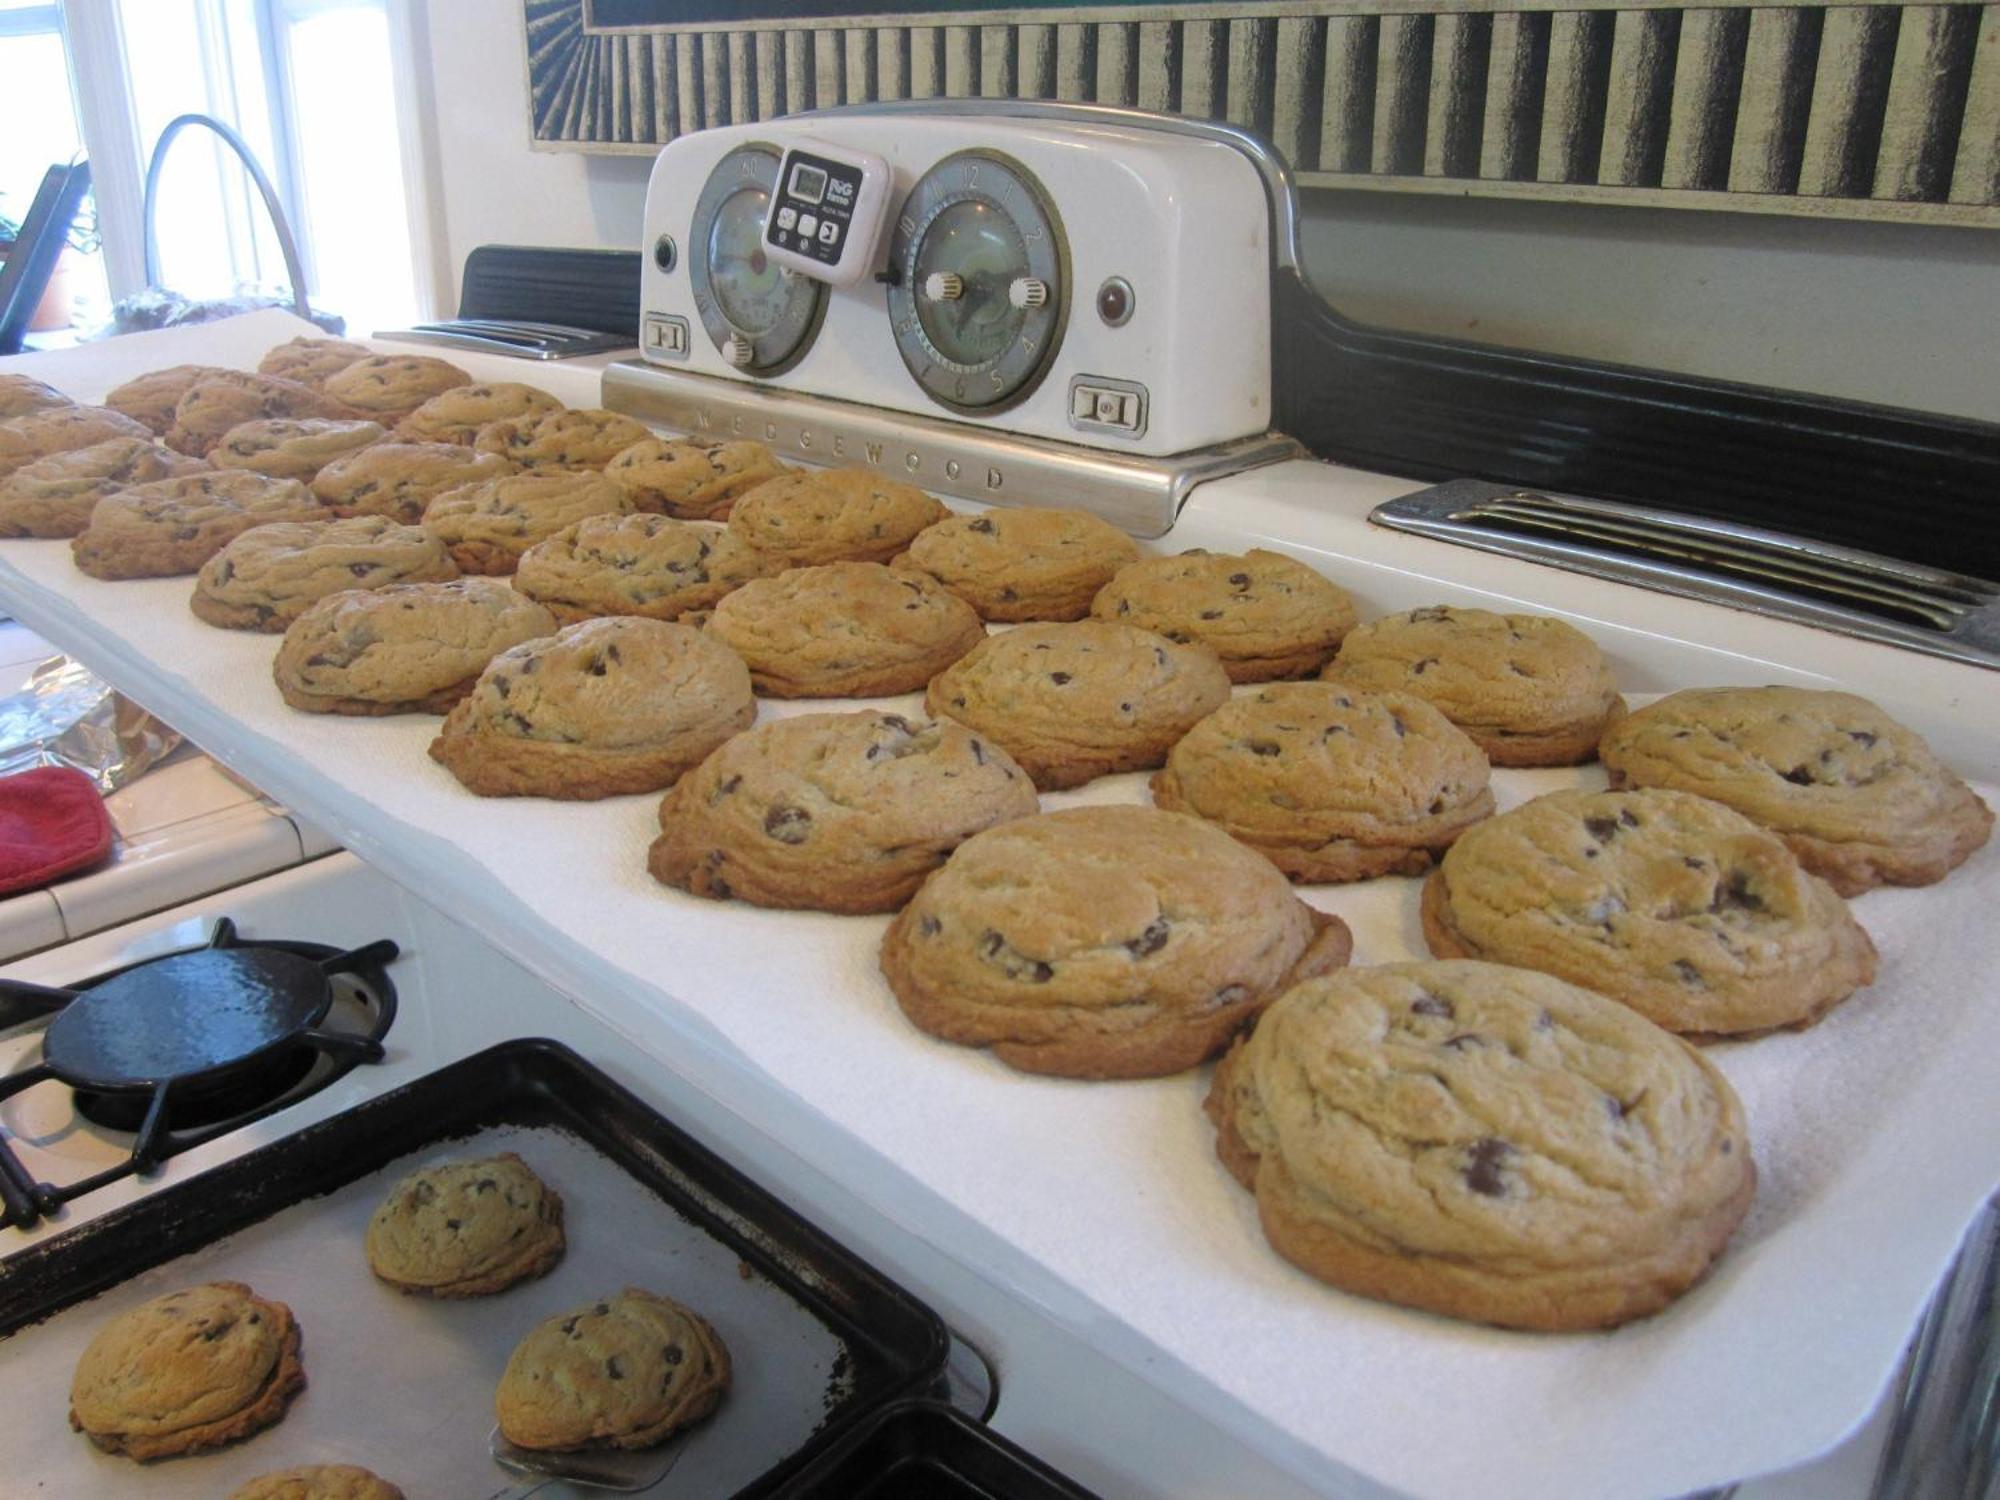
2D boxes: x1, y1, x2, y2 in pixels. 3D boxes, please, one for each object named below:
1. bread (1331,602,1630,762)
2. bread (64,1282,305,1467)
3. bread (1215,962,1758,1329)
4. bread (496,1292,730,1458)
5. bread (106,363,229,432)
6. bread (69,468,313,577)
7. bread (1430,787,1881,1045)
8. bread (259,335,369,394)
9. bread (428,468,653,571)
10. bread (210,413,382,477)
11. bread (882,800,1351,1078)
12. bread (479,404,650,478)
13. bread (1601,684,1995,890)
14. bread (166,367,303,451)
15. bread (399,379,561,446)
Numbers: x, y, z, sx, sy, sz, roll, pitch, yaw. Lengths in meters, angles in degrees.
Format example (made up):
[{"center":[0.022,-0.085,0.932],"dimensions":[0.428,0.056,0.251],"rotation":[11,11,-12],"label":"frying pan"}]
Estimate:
[{"center":[0.364,-0.076,1.043],"dimensions":[0.132,0.051,0.159],"rotation":[-2,19,-4],"label":"bread"},{"center":[-0.513,0.386,0.901],"dimensions":[0.132,0.069,0.094],"rotation":[-3,33,-7],"label":"bread"},{"center":[0.236,0.185,0.693],"dimensions":[0.245,0.090,0.160],"rotation":[10,34,13],"label":"bread"},{"center":[-0.247,0.381,0.886],"dimensions":[0.116,0.035,0.085],"rotation":[-8,30,-21],"label":"bread"},{"center":[-1.152,-0.484,1.941],"dimensions":[0.124,0.034,0.132],"rotation":[-1,27,-3],"label":"bread"},{"center":[-0.833,-0.236,1.449],"dimensions":[0.138,0.042,0.180],"rotation":[3,21,2],"label":"bread"},{"center":[0.377,0.089,0.807],"dimensions":[0.159,0.046,0.182],"rotation":[-31,36,-34],"label":"bread"},{"center":[-1.002,-0.566,2.067],"dimensions":[0.156,0.040,0.121],"rotation":[25,43,37],"label":"bread"},{"center":[-0.483,-0.235,1.406],"dimensions":[0.126,0.039,0.136],"rotation":[-5,22,-8],"label":"bread"},{"center":[-0.823,-0.356,1.654],"dimensions":[0.122,0.029,0.125],"rotation":[1,18,1],"label":"bread"},{"center":[0.063,0.108,0.797],"dimensions":[0.192,0.052,0.164],"rotation":[1,26,-1],"label":"bread"},{"center":[-0.499,-0.352,1.613],"dimensions":[0.128,0.030,0.131],"rotation":[3,19,2],"label":"bread"},{"center":[0.523,0.016,0.926],"dimensions":[0.186,0.050,0.145],"rotation":[-6,28,-2],"label":"bread"},{"center":[-1.009,-0.464,1.872],"dimensions":[0.134,0.039,0.137],"rotation":[0,30,-2],"label":"bread"},{"center":[-0.652,-0.419,1.742],"dimensions":[0.128,0.033,0.131],"rotation":[-5,22,-7],"label":"bread"}]
